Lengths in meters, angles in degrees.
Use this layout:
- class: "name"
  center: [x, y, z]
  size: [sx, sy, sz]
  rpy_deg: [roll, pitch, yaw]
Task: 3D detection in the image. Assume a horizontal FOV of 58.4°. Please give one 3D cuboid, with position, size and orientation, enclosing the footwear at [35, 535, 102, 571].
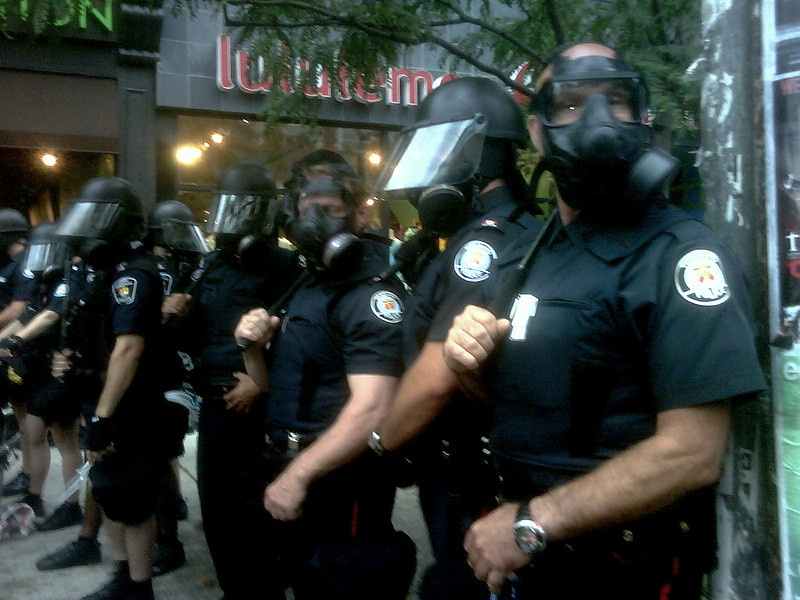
- class: "footwear"
  center: [-2.156, 1.673, 4.796]
  size: [0.501, 0.196, 0.157]
  rpy_deg: [4, 4, -26]

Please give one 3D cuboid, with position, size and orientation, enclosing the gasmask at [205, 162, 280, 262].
- class: "gasmask"
  center: [-0.894, -0.590, 4.357]
  size: [0.520, 0.492, 0.357]
  rpy_deg: [4, 6, 23]

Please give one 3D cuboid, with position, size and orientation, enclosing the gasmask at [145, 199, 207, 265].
- class: "gasmask"
  center: [-1.774, -0.550, 5.698]
  size: [0.516, 0.475, 0.353]
  rpy_deg: [-1, 2, 7]
